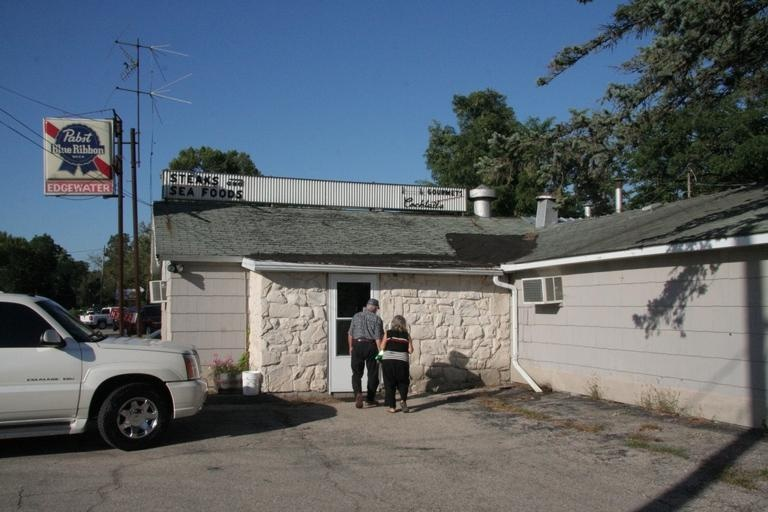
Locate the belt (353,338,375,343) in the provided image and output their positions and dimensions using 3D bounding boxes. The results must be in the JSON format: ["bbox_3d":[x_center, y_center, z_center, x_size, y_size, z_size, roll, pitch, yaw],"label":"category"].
[{"bbox_3d":[-0.477,1.792,13.449,0.481,0.110,0.106,0,2,0],"label":"belt"}]

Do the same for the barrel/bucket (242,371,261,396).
[{"bbox_3d":[-3.094,2.896,14.184,0.457,0.517,0.468,0,-4,0],"label":"barrel/bucket"}]

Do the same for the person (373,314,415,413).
[{"bbox_3d":[0.223,2.267,13.207,0.651,2.032,0.820,0,2,-1],"label":"person"}]

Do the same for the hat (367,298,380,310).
[{"bbox_3d":[-0.274,1.040,13.683,0.190,0.214,0.278,0,-16,17],"label":"hat"}]

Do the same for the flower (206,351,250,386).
[{"bbox_3d":[-3.749,2.722,14.609,0.732,0.651,0.862,2,-4,-9],"label":"flower"}]
